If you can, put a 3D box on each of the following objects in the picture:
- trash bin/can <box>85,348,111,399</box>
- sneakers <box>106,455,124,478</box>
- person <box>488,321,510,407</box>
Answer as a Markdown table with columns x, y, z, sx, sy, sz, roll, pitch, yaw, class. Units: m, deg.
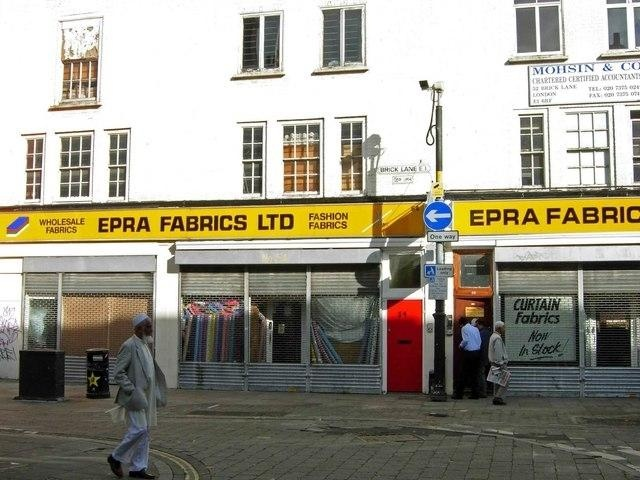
| x | y | z | sx | sy | sz | roll | pitch | yaw | class |
| --- | --- | --- | --- | --- | --- | --- | --- | --- | --- |
| -5.866 | 3.553 | 23.748 | 0.558 | 1.277 | 0.339 | -1 | -3 | -18 | trash bin/can |
| -3.624 | 4.006 | 15.919 | 0.279 | 0.407 | 0.244 | -3 | -3 | 11 | sneakers |
| 4.646 | 3.200 | 23.521 | 0.543 | 2.092 | 1.367 | -3 | -3 | 10 | person |
